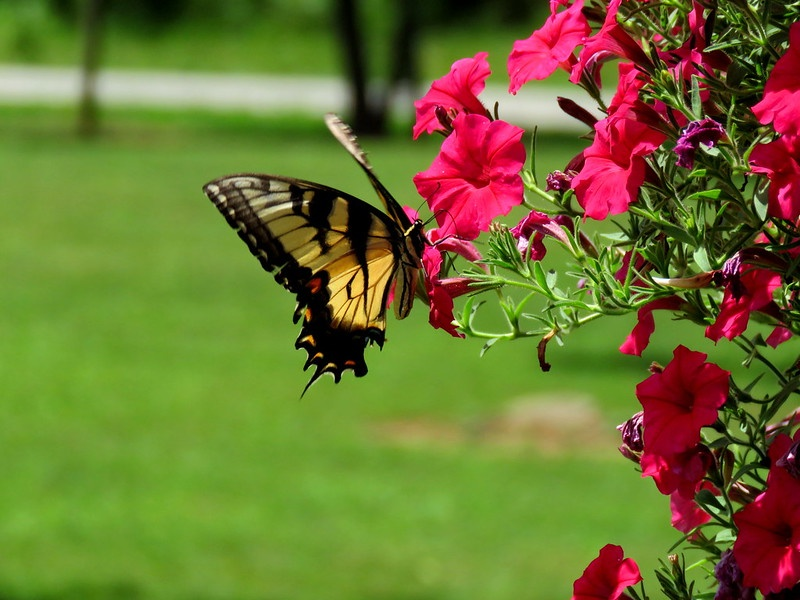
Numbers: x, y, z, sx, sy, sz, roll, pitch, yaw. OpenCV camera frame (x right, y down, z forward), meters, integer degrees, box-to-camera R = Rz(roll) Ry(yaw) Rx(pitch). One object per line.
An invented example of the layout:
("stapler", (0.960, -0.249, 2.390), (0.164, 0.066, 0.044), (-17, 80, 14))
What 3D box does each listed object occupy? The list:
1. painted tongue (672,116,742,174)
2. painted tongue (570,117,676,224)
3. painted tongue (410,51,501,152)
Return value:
("painted tongue", (0.694, -0.363, 2.487), (0.114, 0.114, 0.070), (7, 13, 16))
("painted tongue", (0.522, -0.298, 2.543), (0.089, 0.232, 0.227), (16, -34, -32))
("painted tongue", (0.153, -0.510, 2.761), (0.168, 0.234, 0.188), (-13, 14, -31))
